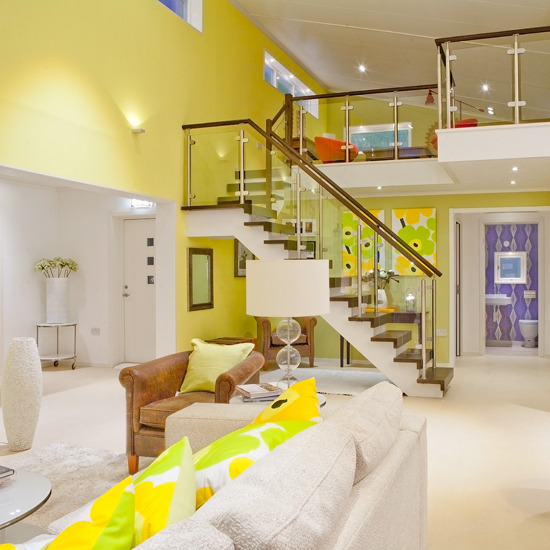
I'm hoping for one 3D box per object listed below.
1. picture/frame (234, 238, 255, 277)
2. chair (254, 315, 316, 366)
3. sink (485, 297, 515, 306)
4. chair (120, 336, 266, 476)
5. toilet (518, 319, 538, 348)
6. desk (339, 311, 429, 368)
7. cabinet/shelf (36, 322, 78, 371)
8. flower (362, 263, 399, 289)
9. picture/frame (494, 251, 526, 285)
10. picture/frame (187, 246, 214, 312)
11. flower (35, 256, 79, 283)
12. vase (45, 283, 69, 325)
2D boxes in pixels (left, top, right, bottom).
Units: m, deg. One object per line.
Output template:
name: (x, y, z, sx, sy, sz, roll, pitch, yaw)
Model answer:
picture/frame: (-0.395, -0.241, 6.321, 0.035, 0.620, 0.476, 0, 1, 22)
chair: (0.196, 0.956, 7.323, 0.668, 1.038, 0.760, 1, -9, -5)
sink: (4.301, 0.483, 9.661, 0.461, 0.222, 0.569, -1, 0, 27)
chair: (-0.564, 0.876, 3.608, 0.665, 0.874, 0.858, -2, -8, 13)
toilet: (4.828, 1.100, 9.661, 0.373, 0.545, 0.427, 0, 1, -21)
desk: (1.422, 0.733, 5.976, 0.986, 0.707, 0.544, -3, -12, 36)
cabinet/shelf: (-3.368, 1.079, 7.797, 0.580, 1.007, 0.630, -3, -5, 39)
flower: (1.246, 0.033, 5.861, 0.474, 0.213, 0.128, -1, 0, 45)
picture/frame: (4.589, -0.152, 9.758, 0.523, 0.707, 0.053, 1, 1, 19)
picture/frame: (-0.991, 0.049, 6.639, 0.052, 0.937, 0.780, 1, 2, 18)
flower: (-3.299, -0.097, 7.693, 0.330, 0.306, 0.396, 0, 2, -3)
vase: (-3.319, 0.384, 7.677, 0.319, 0.685, 0.362, 0, 0, -28)
